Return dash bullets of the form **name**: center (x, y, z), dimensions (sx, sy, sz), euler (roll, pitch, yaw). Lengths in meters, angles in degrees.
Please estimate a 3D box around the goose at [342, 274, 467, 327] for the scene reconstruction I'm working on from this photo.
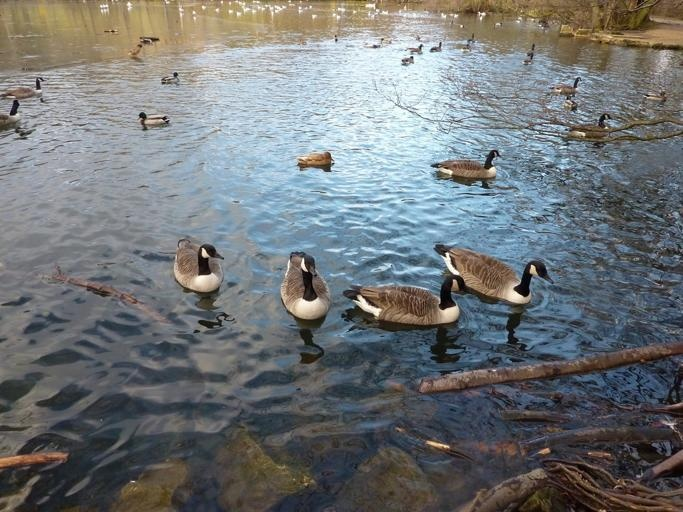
- **goose**: center (1.976, 1.226, 14.410), dimensions (3.869, 1.273, 1.374), euler (4, 22, 4)

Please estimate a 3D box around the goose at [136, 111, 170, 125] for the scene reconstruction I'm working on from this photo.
- **goose**: center (-10.784, -7.922, 28.155), dimensions (1.852, 0.946, 0.671), euler (1, 63, -1)

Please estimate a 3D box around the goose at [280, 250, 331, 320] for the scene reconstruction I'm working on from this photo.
- **goose**: center (-1.080, 0.813, 14.338), dimensions (1.460, 1.781, 1.804), euler (-6, 27, -7)

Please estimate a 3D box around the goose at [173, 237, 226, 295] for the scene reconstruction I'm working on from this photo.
- **goose**: center (-4.495, 0.293, 15.219), dimensions (1.464, 1.435, 1.662), euler (-10, 27, -16)

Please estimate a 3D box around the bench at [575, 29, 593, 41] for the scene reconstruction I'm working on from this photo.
- **bench**: center (30.075, -27.498, 60.539), dimensions (1.972, 1.177, 3.089), euler (8, 24, 19)

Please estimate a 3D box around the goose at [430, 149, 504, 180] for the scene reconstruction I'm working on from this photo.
- **goose**: center (5.916, -4.242, 22.802), dimensions (3.591, 1.345, 1.270), euler (6, 25, 2)
